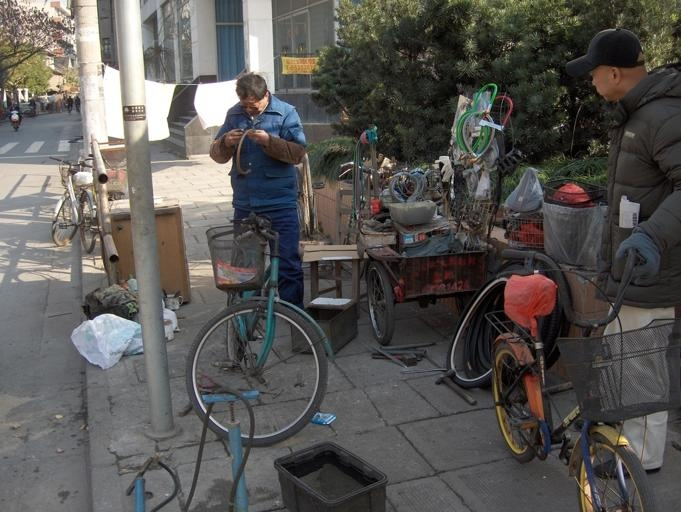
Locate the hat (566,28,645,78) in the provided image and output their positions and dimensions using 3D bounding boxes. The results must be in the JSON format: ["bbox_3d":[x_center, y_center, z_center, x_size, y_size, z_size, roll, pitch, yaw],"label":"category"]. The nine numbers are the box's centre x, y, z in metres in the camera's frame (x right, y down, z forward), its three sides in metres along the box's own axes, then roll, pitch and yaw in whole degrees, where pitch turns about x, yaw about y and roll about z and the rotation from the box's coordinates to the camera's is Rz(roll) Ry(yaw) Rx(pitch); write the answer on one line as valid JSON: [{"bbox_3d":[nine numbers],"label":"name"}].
[{"bbox_3d":[1.529,-1.199,3.487,0.438,0.259,0.297,3,28,22],"label":"hat"}]

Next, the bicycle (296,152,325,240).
[{"bbox_3d":[-0.401,-0.757,8.024,0.440,1.212,0.326,-13,25,-15],"label":"bicycle"}]

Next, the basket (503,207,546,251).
[{"bbox_3d":[1.625,-0.212,5.039,0.194,0.262,0.292,-2,12,19],"label":"basket"}]

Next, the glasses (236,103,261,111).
[{"bbox_3d":[-0.771,-1.277,5.129,0.103,0.057,0.134,14,17,31],"label":"glasses"}]

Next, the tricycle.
[{"bbox_3d":[0.637,-0.103,6.075,1.083,0.937,1.753,-7,27,-10],"label":"tricycle"}]

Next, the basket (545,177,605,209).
[{"bbox_3d":[1.829,-0.518,4.880,0.354,0.180,0.478,-4,11,-19],"label":"basket"}]

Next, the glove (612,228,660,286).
[{"bbox_3d":[1.545,-0.032,3.083,0.121,0.242,0.290,3,-1,44],"label":"glove"}]

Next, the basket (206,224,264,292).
[{"bbox_3d":[-0.784,-0.003,4.243,0.445,0.554,0.450,-5,-4,41],"label":"basket"}]
